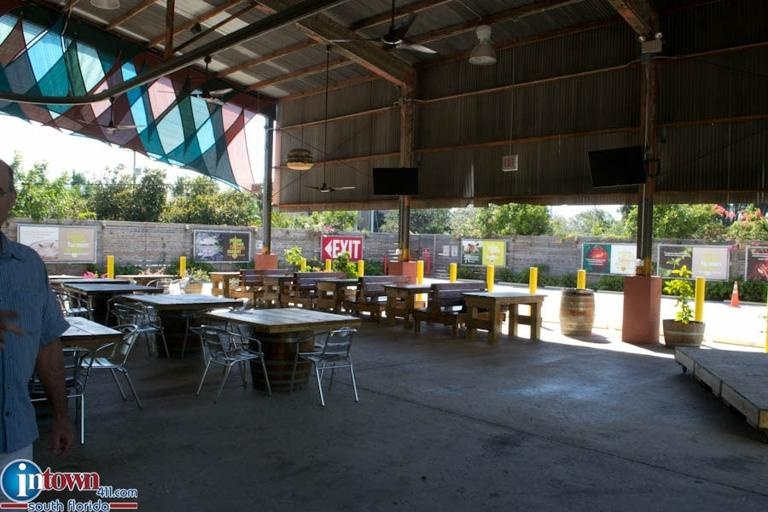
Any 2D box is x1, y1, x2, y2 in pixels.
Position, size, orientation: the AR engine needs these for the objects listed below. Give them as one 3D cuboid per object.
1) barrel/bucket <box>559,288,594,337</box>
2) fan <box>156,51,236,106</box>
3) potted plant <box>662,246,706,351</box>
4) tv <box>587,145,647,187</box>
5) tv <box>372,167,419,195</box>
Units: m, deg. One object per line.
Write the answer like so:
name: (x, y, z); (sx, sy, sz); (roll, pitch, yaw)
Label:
barrel/bucket: (4.535, 1.313, 12.667); (0.833, 0.976, 0.803); (2, 0, 0)
fan: (-5.342, -5.235, 15.818); (1.792, 1.998, 5.640); (1, 5, -15)
potted plant: (6.290, 0.952, 11.327); (0.968, 1.754, 0.820); (-1, -3, -7)
tv: (4.987, -1.942, 11.581); (1.117, 0.827, 0.298); (6, 7, 42)
tv: (0.306, -2.069, 14.736); (0.963, 0.513, 0.121); (0, 1, 2)
